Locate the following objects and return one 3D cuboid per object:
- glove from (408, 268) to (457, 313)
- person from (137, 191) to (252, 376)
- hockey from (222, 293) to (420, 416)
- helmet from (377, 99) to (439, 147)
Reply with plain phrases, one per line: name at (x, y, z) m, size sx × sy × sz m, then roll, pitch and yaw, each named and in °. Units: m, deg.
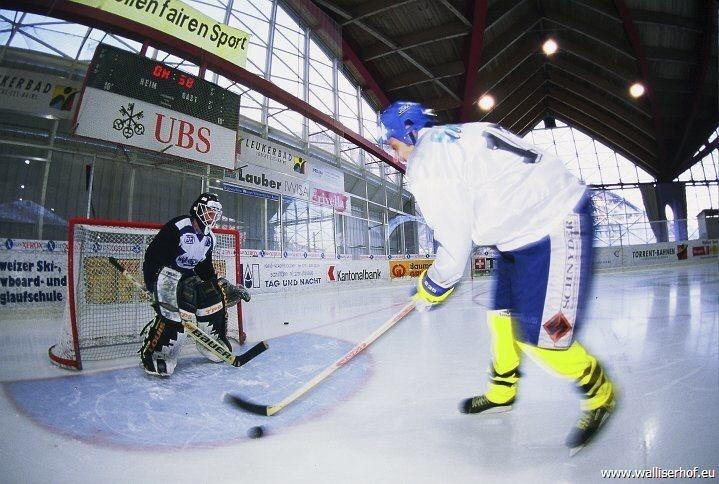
glove at (0.730, 0.476, 5.715) m, size 0.501 × 0.302 × 0.737 m, roll 30°, pitch -4°, yaw -1°
person at (-2.097, 0.493, 6.637) m, size 1.286 × 2.251 × 1.057 m, roll 0°, pitch 10°, yaw -31°
hockey at (-0.510, 1.476, 6.623) m, size 2.218 × 0.463 × 0.180 m, roll -29°, pitch -7°, yaw -10°
helmet at (0.531, -1.254, 5.605) m, size 0.622 × 0.530 × 0.476 m, roll -16°, pitch -6°, yaw -7°
